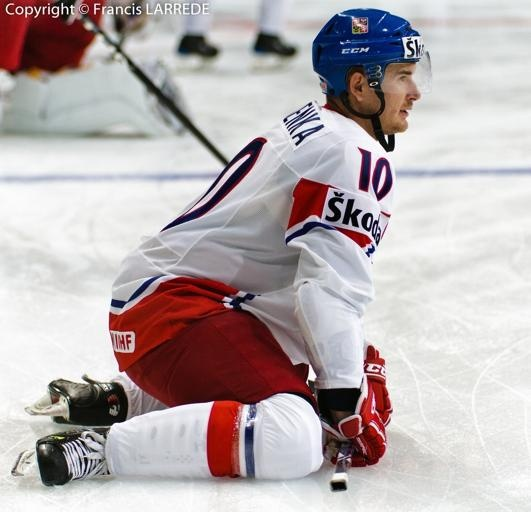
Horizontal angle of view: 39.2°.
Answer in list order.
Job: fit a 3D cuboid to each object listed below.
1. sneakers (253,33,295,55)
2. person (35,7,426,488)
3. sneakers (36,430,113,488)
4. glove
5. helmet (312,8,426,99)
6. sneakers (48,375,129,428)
[{"bbox_3d":[0.039,-1.793,6.300,0.437,0.132,0.122,1,27,-29],"label":"sneakers"},{"bbox_3d":[-0.011,-0.052,1.507,0.642,0.952,0.622,8,15,7],"label":"person"},{"bbox_3d":[-0.340,0.380,1.415,0.087,0.051,0.184,0,3,29],"label":"sneakers"},{"bbox_3d":[0.203,0.318,1.494,0.115,0.179,0.151,-10,24,0],"label":"glove"},{"bbox_3d":[0.195,-0.451,1.682,0.309,0.183,0.186,-2,8,1],"label":"helmet"},{"bbox_3d":[-0.396,0.320,1.652,0.158,0.040,0.127,1,6,-14],"label":"sneakers"}]
